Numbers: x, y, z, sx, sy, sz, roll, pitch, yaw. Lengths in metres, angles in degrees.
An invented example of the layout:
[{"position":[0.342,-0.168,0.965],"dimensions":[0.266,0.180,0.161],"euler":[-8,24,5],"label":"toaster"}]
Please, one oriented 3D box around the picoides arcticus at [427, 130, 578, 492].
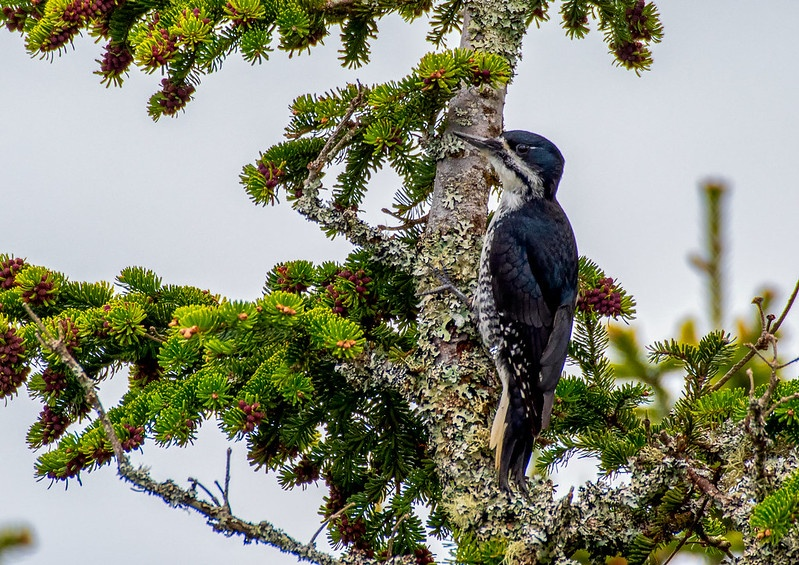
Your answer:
[{"position":[0.853,0.109,12.251],"dimensions":[0.728,2.563,1.365],"euler":[-5,-57,6],"label":"picoides arcticus"}]
